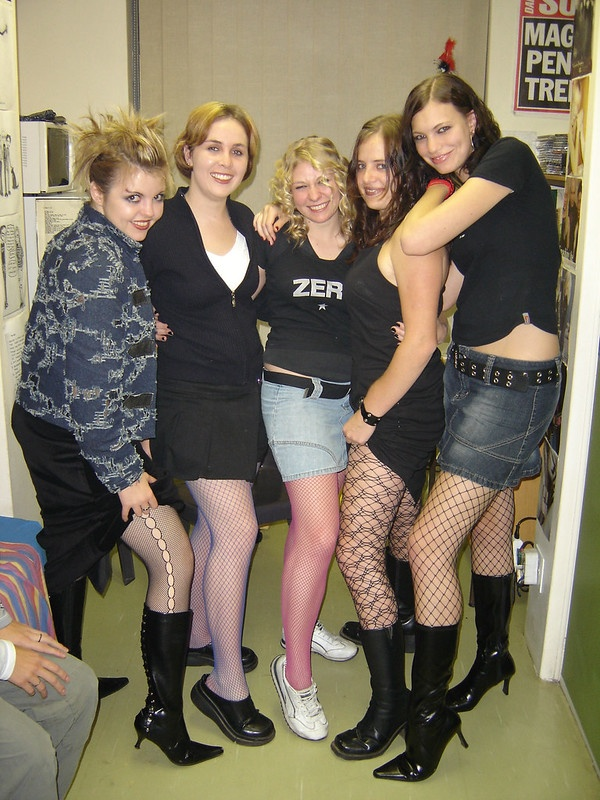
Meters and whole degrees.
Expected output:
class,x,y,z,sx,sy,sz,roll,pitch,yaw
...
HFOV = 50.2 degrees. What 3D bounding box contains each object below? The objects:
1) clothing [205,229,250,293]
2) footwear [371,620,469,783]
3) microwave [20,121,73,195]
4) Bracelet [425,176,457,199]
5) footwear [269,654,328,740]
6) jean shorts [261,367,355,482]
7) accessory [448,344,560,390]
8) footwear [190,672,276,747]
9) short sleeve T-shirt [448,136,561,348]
class,x,y,z,sx,sy,sz,roll,pitch,yaw
clothing,-0.191,-0.380,1.784,0.099,0.171,0.041,-4,-16,-28
footwear,0.300,0.781,1.651,0.271,0.377,0.106,-7,6,-20
microwave,-1.160,-1.080,2.848,0.246,0.309,0.372,6,19,-3
Bracelet,0.364,-0.564,1.690,0.066,0.035,0.087,-4,30,-21
footwear,0.002,0.841,1.880,0.099,0.250,0.112,-19,-8,-35
jean shorts,0.021,0.076,1.902,0.209,0.334,0.335,0,5,37
accessory,0.505,-0.077,1.600,0.248,0.089,0.114,4,11,22
footwear,-0.207,0.897,1.871,0.258,0.094,0.110,34,10,22
short sleeve T-shirt,0.481,-0.372,1.546,0.284,0.524,0.524,1,8,12
